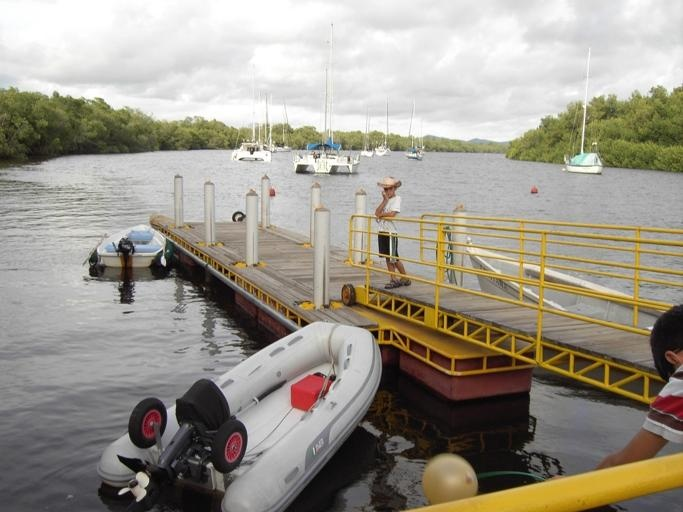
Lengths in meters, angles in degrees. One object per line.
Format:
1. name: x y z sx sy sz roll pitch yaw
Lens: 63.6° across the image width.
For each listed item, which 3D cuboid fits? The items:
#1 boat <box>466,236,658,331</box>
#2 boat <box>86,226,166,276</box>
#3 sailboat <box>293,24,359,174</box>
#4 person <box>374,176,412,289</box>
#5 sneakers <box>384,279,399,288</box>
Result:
1. boat: 4.098 0.495 10.127 2.389 1.437 2.555 -1 12 -27
2. boat: -6.097 -0.204 15.974 1.299 0.815 2.450 0 18 -7
3. sailboat: -1.205 -11.517 62.353 6.576 20.364 3.172 -8 17 -31
4. person: 0.901 -0.391 9.223 0.755 1.813 0.662 -1 1 -23
5. sneakers: 0.855 0.461 9.185 0.287 0.134 0.095 -2 2 -42
